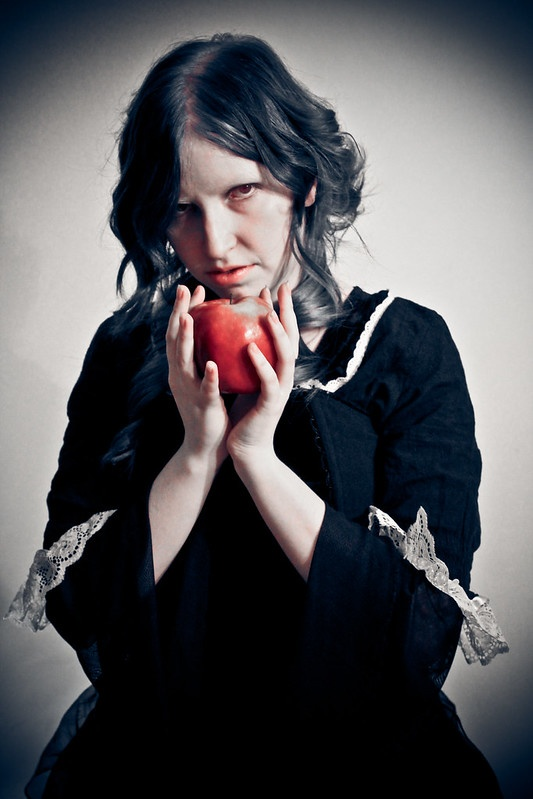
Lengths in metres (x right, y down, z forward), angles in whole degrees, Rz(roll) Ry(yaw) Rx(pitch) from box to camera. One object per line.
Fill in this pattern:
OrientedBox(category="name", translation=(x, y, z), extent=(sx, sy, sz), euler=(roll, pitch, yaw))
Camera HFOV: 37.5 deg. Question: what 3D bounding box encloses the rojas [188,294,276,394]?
OrientedBox(category="rojas", translation=(-0.058, -0.078, 1.175), extent=(0.146, 0.146, 0.101), euler=(8, 13, 7))
